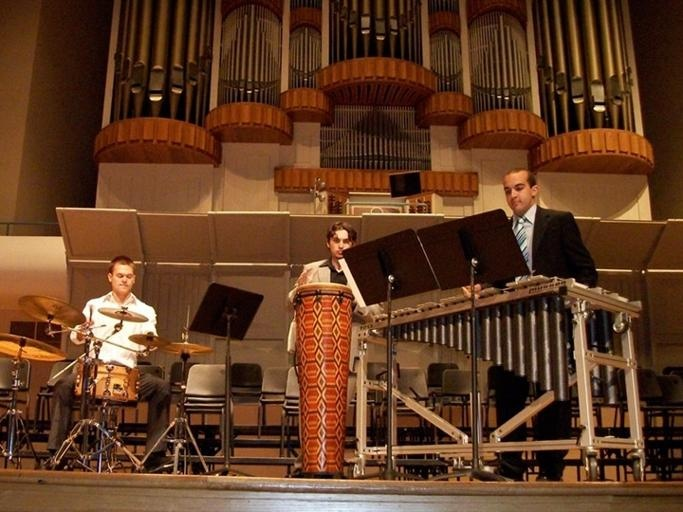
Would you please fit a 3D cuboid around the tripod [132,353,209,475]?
[{"bbox_3d":[-1.554,1.511,7.586,0.602,1.146,0.646,8,6,23],"label":"tripod"}]

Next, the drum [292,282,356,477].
[{"bbox_3d":[-0.184,1.019,6.707,0.508,1.567,0.328,3,-14,-3],"label":"drum"}]

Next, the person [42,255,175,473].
[{"bbox_3d":[-2.216,1.050,7.942,1.069,2.162,0.954,4,1,12],"label":"person"}]

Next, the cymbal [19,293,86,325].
[{"bbox_3d":[-2.723,0.546,7.501,0.493,0.138,0.527,-9,-35,30],"label":"cymbal"}]

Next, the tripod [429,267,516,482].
[{"bbox_3d":[1.044,0.925,6.378,0.540,1.660,0.813,0,-14,9],"label":"tripod"}]

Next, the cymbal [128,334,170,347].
[{"bbox_3d":[-1.815,0.773,7.589,0.390,0.136,0.277,-5,-17,26],"label":"cymbal"}]

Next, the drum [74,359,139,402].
[{"bbox_3d":[-2.219,1.216,7.638,0.415,0.281,0.427,2,-9,0],"label":"drum"}]

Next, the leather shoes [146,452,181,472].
[{"bbox_3d":[-1.647,1.927,7.496,0.258,0.139,0.350,4,-10,-40],"label":"leather shoes"}]
